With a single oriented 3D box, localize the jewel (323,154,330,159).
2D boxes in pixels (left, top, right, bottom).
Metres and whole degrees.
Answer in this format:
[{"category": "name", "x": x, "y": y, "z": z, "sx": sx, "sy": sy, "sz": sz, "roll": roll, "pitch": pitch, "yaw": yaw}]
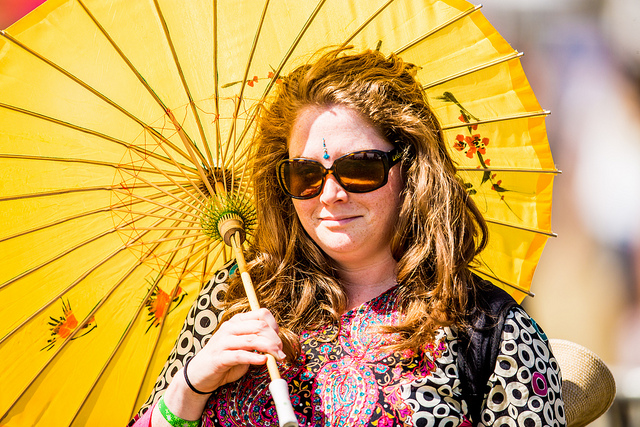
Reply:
[{"category": "jewel", "x": 0.029, "y": -0.246, "z": 2.437, "sx": 0.025, "sy": 0.017, "sz": 0.011, "roll": -22, "pitch": -44, "yaw": 22}]
